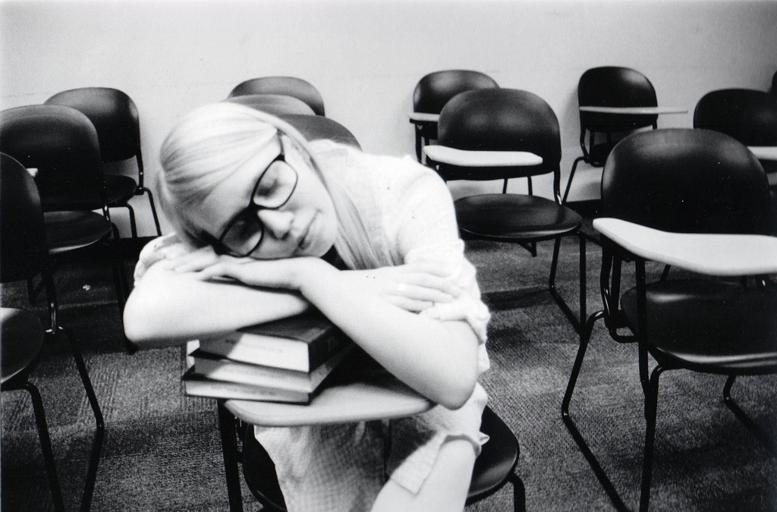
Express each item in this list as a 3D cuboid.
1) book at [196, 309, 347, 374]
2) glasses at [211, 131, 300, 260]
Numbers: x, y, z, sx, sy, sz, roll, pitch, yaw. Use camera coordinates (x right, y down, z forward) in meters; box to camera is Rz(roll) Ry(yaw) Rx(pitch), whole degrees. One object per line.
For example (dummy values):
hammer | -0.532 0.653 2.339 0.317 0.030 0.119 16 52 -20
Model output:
book | -0.286 0.197 1.505 0.350 0.080 0.149 6 33 11
glasses | -0.339 -0.143 1.512 0.071 0.239 0.243 26 28 -17
